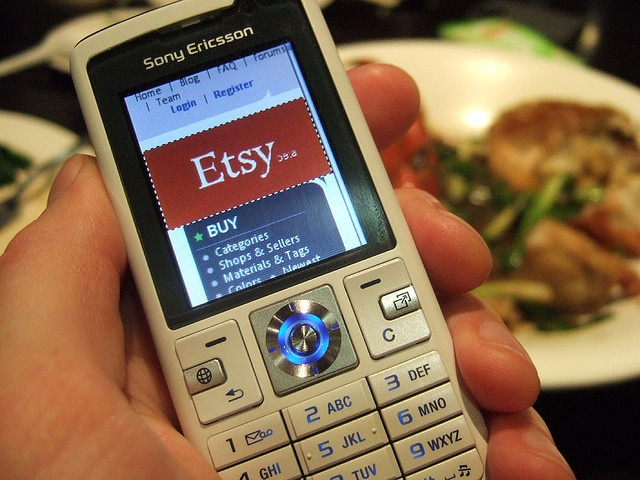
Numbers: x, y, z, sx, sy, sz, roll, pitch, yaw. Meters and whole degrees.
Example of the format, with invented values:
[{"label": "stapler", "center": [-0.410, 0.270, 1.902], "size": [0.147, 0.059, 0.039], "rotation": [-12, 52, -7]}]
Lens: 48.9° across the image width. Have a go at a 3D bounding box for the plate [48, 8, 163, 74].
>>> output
[{"label": "plate", "center": [-0.452, -0.403, 1.475], "size": [0.196, 0.045, 0.211], "rotation": [21, 49, 22]}]
